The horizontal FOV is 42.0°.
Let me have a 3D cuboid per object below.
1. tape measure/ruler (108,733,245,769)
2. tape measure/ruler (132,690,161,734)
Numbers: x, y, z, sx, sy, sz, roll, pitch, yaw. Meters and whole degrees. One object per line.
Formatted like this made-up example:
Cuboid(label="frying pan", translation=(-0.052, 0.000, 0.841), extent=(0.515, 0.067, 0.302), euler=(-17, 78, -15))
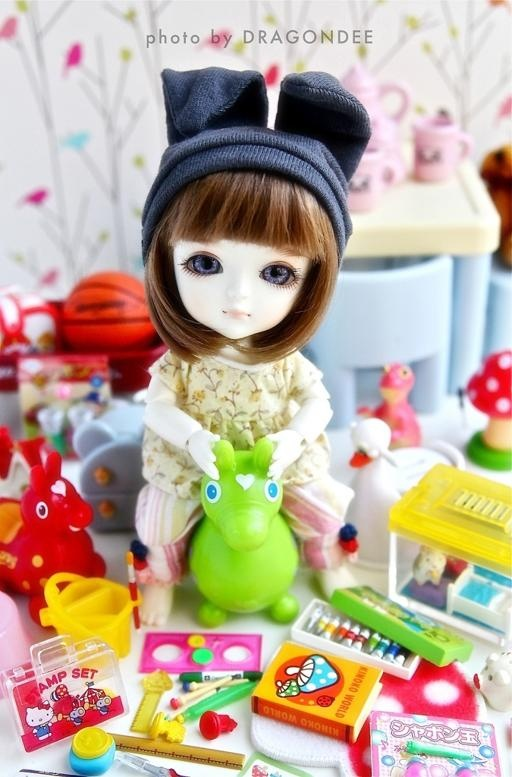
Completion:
Cuboid(label="tape measure/ruler", translation=(-0.092, 0.415, 0.768), extent=(0.161, 0.008, 0.027), euler=(2, 8, 12))
Cuboid(label="tape measure/ruler", translation=(-0.136, 0.402, 0.827), extent=(0.015, 0.003, 0.079), euler=(13, 15, 4))
